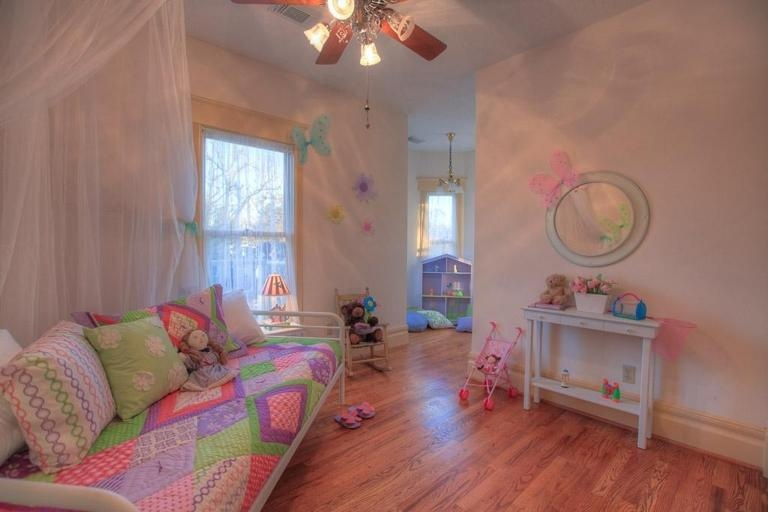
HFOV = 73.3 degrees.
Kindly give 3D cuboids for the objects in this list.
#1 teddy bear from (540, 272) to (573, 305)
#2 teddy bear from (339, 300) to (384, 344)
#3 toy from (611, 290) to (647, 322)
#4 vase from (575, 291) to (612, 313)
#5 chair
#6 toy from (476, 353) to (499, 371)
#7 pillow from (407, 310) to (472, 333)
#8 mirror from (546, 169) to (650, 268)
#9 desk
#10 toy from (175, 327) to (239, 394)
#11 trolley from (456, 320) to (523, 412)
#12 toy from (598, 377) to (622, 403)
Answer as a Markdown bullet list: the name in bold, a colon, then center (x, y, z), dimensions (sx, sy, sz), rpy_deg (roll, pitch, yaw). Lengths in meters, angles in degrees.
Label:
- **teddy bear**: center (1.479, 0.290, 4.412), dimensions (0.276, 0.289, 0.225), rpy_deg (-1, 0, 29)
- **teddy bear**: center (-0.242, 0.659, 5.297), dimensions (0.432, 0.514, 0.431), rpy_deg (0, -17, -33)
- **toy**: center (1.933, 0.387, 4.083), dimensions (0.259, 0.204, 0.219), rpy_deg (-1, 0, 28)
- **vase**: center (1.692, 0.373, 4.176), dimensions (0.223, 0.139, 0.154), rpy_deg (-3, -8, 40)
- **chair**: center (-0.220, 0.790, 5.334), dimensions (0.461, 0.825, 0.695), rpy_deg (-3, 6, -18)
- **toy**: center (0.962, 0.964, 4.716), dimensions (0.129, 0.070, 0.186), rpy_deg (-5, -1, 40)
- **pillow**: center (0.755, 0.889, 7.155), dimensions (0.857, 0.256, 0.647), rpy_deg (-1, -1, 1)
- **mirror**: center (1.888, -0.297, 4.551), dimensions (0.725, 0.754, 0.747), rpy_deg (0, 0, 25)
- **desk**: center (1.661, 0.929, 4.269), dimensions (1.021, 0.945, 0.341), rpy_deg (6, 7, 44)
- **toy**: center (-1.252, 0.694, 3.605), dimensions (0.372, 0.391, 0.302), rpy_deg (-5, 13, -14)
- **trolley**: center (0.960, 0.957, 4.666), dimensions (0.494, 0.661, 0.607), rpy_deg (1, 8, 28)
- **toy**: center (1.818, 1.073, 4.135), dimensions (0.071, 0.155, 0.162), rpy_deg (-1, 6, -43)
